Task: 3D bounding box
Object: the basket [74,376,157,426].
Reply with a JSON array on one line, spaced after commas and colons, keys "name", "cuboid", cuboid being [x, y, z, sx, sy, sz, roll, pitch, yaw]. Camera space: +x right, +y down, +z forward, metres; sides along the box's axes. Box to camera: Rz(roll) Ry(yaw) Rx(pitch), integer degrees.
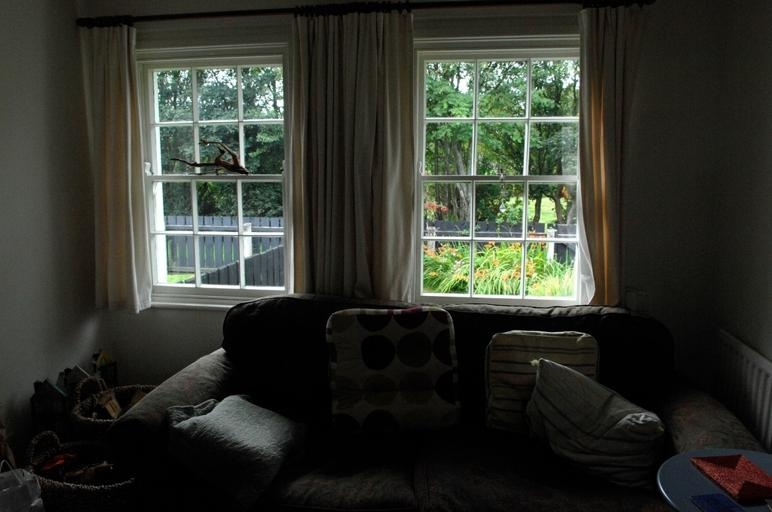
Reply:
[{"name": "basket", "cuboid": [-1.809, 0.933, 3.972, 0.404, 0.161, 0.339, 2, 5, 27]}]
